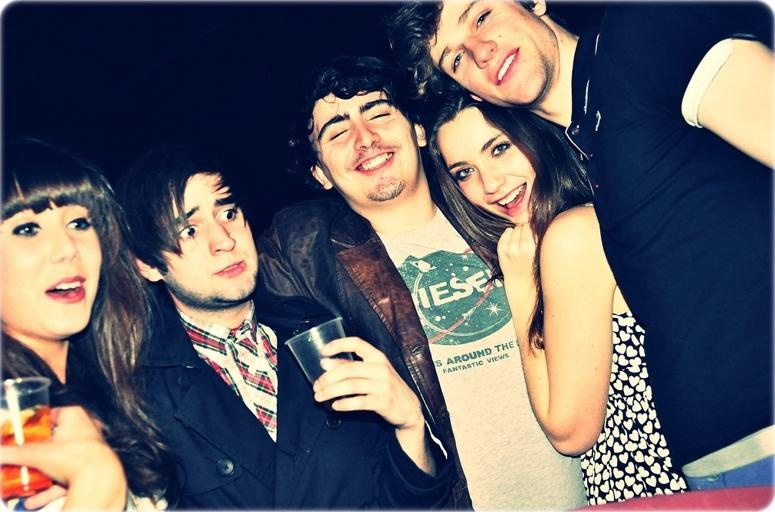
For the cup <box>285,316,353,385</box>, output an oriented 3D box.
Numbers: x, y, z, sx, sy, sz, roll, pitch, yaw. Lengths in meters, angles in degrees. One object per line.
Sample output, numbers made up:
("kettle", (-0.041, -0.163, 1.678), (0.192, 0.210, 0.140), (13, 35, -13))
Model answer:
("cup", (-0.350, 0.424, 3.219), (0.288, 0.215, 0.290), (-26, -8, -4))
